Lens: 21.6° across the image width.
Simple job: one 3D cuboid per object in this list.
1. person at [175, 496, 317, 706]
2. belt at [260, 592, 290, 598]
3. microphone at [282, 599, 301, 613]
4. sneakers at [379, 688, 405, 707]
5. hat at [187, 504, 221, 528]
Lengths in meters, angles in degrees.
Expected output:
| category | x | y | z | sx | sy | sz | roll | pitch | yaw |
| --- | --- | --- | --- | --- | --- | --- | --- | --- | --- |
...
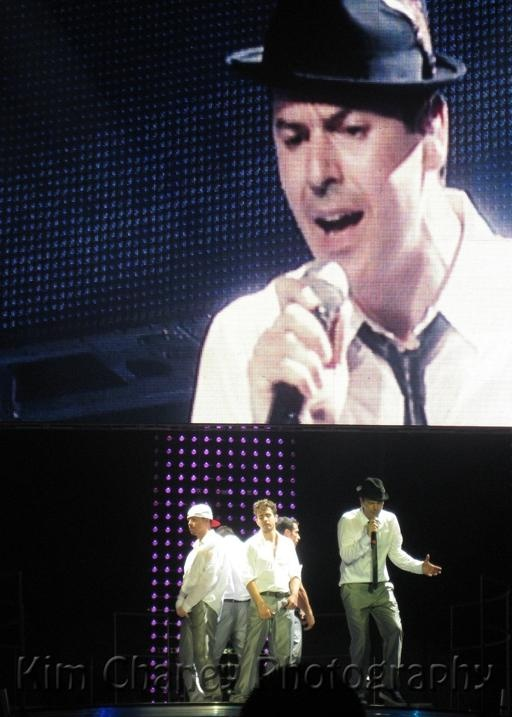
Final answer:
| category | x | y | z | sx | sy | sz | roll | pitch | yaw |
| --- | --- | --- | --- | --- | --- | --- | --- | --- | --- |
| person | -0.104 | 1.422 | 7.958 | 0.756 | 1.175 | 0.472 | -6 | -14 | 2 |
| belt | 0.113 | 1.387 | 7.851 | 0.147 | 0.049 | 0.024 | -4 | -14 | -7 |
| microphone | 0.197 | 1.443 | 7.821 | 0.087 | 0.034 | 0.115 | 3 | -16 | -5 |
| sneakers | 0.788 | 1.972 | 7.821 | 0.112 | 0.098 | 0.260 | -2 | -13 | -14 |
| hat | -0.288 | 0.987 | 8.308 | 0.232 | 0.120 | 0.144 | 12 | -10 | -25 |
